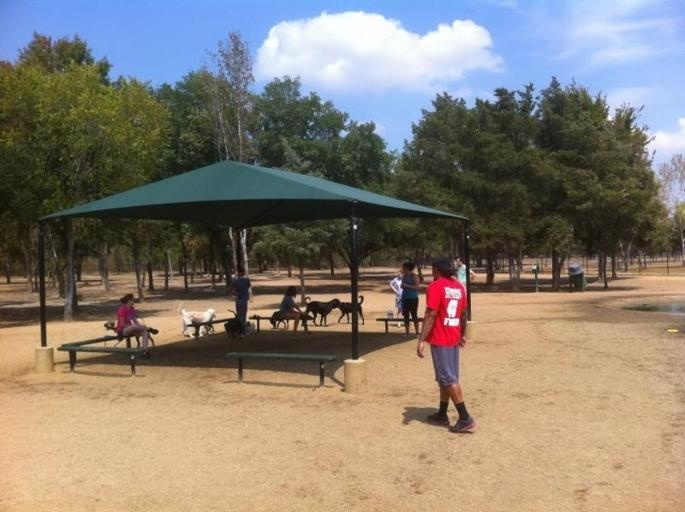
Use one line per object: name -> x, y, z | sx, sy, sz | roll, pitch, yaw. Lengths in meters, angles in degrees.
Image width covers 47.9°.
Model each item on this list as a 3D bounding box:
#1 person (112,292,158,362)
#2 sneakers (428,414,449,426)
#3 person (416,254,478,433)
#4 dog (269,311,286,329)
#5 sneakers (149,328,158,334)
person -> -6.781, 2.317, 25.320 | 1.145, 1.866, 0.967 | 5, 26, 2
sneakers -> 2.057, 3.476, 16.526 | 0.394, 0.212, 0.209 | 7, -1, 18
person -> 2.213, 1.835, 16.244 | 1.087, 3.552, 0.957 | 0, 11, 7
dog -> -2.179, 2.091, 25.449 | 0.556, 0.352, 0.813 | 0, -2, 9
sneakers -> -5.296, 2.112, 21.639 | 0.284, 0.080, 0.185 | 0, -1, 23
